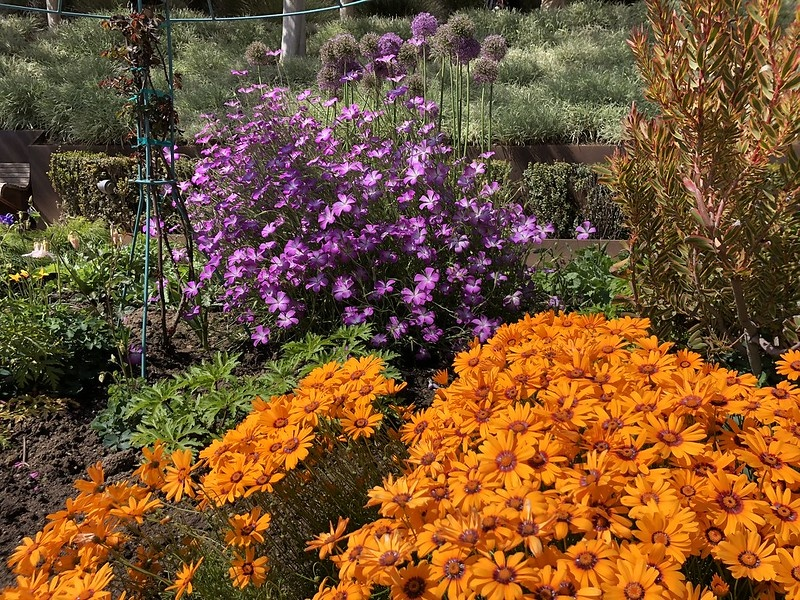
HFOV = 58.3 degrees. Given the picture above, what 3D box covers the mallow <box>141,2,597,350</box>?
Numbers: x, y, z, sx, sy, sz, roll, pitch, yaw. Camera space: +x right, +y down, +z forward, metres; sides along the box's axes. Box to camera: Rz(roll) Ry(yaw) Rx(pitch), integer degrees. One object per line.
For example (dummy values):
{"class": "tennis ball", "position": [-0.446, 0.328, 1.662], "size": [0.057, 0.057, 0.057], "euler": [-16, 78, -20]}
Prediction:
{"class": "mallow", "position": [-0.176, -0.671, 4.090], "size": [1.983, 1.654, 1.685], "euler": [5, 21, 29]}
